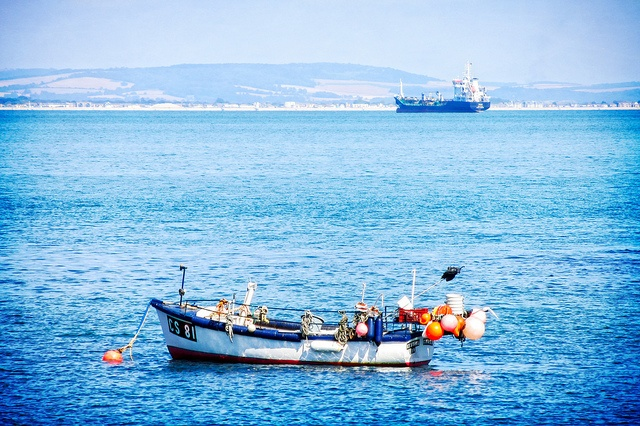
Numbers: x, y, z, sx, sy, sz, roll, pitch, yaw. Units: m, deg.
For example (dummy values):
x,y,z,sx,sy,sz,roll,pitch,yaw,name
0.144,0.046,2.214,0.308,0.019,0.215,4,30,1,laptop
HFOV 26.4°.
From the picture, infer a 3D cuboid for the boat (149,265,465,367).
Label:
x,y,z,sx,sy,sz,roll,pitch,yaw,name
-2.031,13.350,170.487,36.759,10.864,11.615,2,-2,-7,boat
